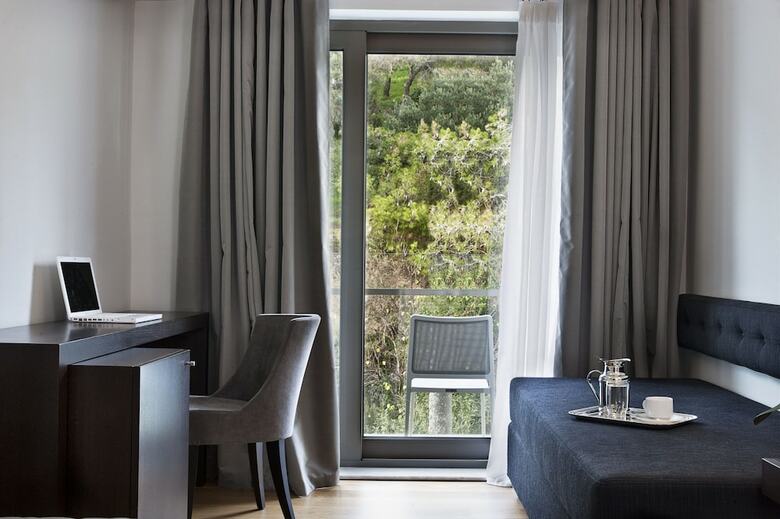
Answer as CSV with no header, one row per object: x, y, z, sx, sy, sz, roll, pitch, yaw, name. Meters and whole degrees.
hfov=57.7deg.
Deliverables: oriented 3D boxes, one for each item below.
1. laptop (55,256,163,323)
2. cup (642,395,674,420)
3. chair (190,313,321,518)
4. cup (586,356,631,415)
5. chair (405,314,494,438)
-1.576,0.174,3.971,0.453,0.354,0.457,-1,-1,7,laptop
1.344,0.729,3.493,0.118,0.089,0.093,-2,-3,26,cup
-0.783,0.865,4.398,0.992,1.457,0.870,3,-5,-18,chair
1.169,0.679,3.763,0.226,0.299,0.151,1,0,35,cup
0.497,0.769,4.930,0.616,1.150,0.721,1,-4,3,chair
